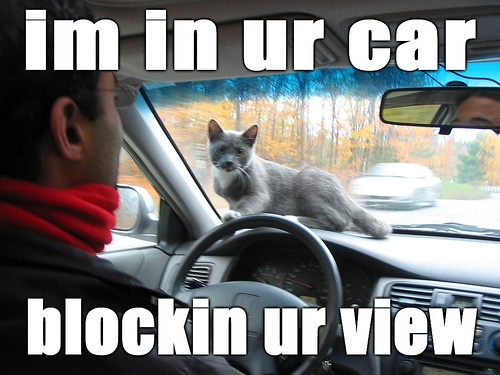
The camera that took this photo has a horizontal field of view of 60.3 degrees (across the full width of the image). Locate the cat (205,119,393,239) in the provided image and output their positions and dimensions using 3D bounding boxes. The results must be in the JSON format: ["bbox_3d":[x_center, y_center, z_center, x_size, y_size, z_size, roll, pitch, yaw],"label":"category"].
[{"bbox_3d":[0.275,-0.054,2.773,1.311,0.583,0.523,17,-14,-9],"label":"cat"}]
